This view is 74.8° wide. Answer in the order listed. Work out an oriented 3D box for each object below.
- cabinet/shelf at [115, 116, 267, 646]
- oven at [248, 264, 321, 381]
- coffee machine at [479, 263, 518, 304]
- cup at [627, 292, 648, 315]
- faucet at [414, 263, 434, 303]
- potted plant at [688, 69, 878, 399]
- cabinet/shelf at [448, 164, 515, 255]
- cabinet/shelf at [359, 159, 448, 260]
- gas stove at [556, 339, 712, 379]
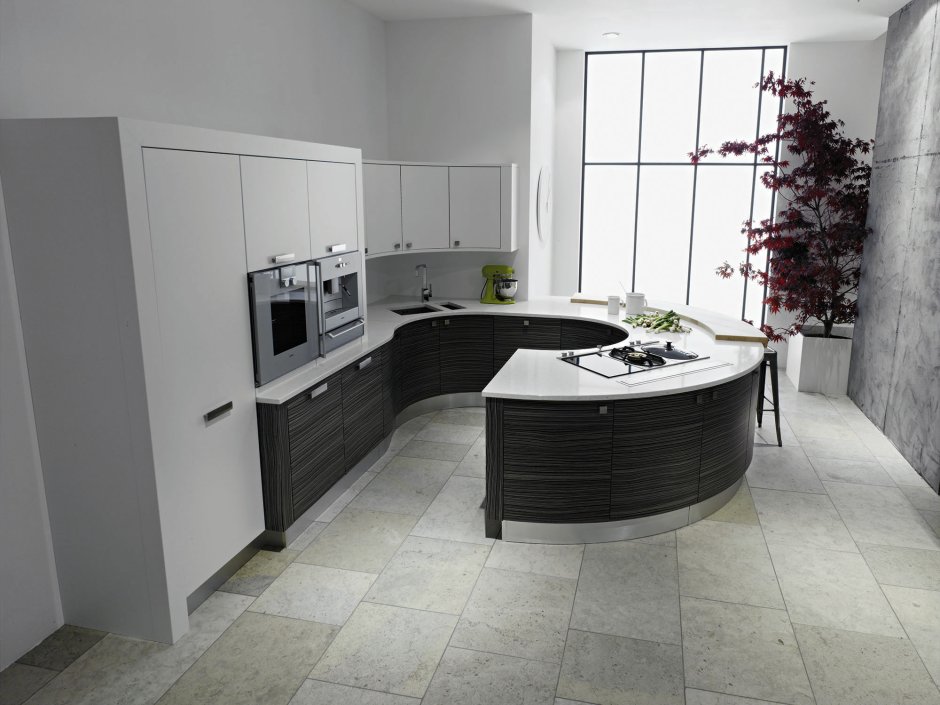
[{"bbox_3d":[-1.394,0.111,3.688,0.356,2.709,1.087,22,24,35],"label":"cabinet/shelf"},{"bbox_3d":[-1.255,-0.173,4.074,0.234,0.540,0.614,21,32,34],"label":"oven"},{"bbox_3d":[0.316,-0.739,6.653,0.465,0.456,0.298,-2,17,0],"label":"coffee machine"},{"bbox_3d":[1.612,-0.474,5.933,0.175,0.199,0.180,-3,15,1],"label":"cup"},{"bbox_3d":[-0.504,-0.784,6.826,0.177,0.380,0.388,-5,15,-4],"label":"faucet"},{"bbox_3d":[3.754,-1.474,7.330,1.642,3.577,1.415,5,18,29],"label":"potted plant"},{"bbox_3d":[0.104,-1.537,6.443,0.851,0.992,0.501,0,7,2],"label":"cabinet/shelf"},{"bbox_3d":[-0.583,-1.486,6.370,1.092,0.918,0.390,5,9,32],"label":"cabinet/shelf"},{"bbox_3d":[1.199,0.024,4.551,0.988,0.074,0.649,-11,17,-27],"label":"gas stove"}]
